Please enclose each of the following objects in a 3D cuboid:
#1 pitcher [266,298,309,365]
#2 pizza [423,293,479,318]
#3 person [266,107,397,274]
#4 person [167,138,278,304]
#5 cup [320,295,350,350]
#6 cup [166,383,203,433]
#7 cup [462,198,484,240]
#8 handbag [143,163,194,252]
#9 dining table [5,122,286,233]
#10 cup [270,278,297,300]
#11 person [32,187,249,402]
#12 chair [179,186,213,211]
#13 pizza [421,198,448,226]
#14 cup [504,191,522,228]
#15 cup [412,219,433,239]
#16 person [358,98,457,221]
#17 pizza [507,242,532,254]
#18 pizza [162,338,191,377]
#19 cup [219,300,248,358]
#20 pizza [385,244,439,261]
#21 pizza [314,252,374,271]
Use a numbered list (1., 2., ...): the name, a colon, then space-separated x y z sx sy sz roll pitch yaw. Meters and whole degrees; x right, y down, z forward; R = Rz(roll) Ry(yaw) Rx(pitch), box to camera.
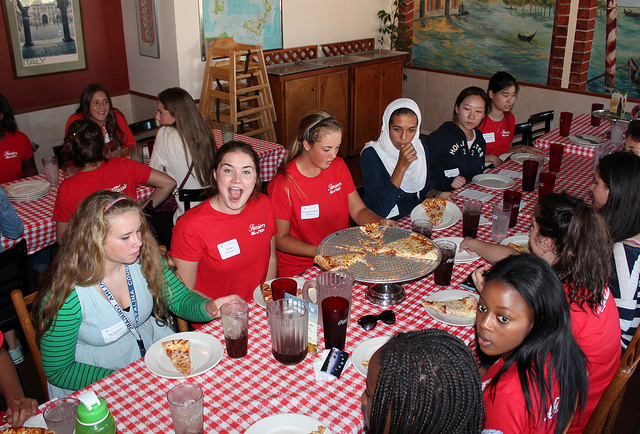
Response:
1. pitcher: -0.120 0.449 1.580 0.155 0.230 0.147 -6 22 -11
2. pizza: 0.602 0.409 1.805 0.199 0.029 0.134 2 22 3
3. person: 0.027 -0.111 2.546 0.628 1.063 0.822 -21 40 -30
4. person: -0.508 0.093 2.288 0.687 1.049 0.401 -19 40 -36
5. cup: 0.065 0.431 1.602 0.102 0.216 0.093 -2 21 1
6. cup: -0.433 0.623 1.285 0.102 0.161 0.101 0 15 0
7. cup: 0.916 0.022 2.402 0.147 0.259 0.164 8 24 21
8. handbag: -1.091 -0.101 2.879 0.340 0.388 0.609 -35 -10 -22
9. dining table: -1.252 -0.277 2.826 0.667 0.218 0.905 32 51 32
10. cup: -0.157 0.306 1.744 0.085 0.068 0.090 -2 9 0
11. person: -0.887 0.578 2.002 0.899 1.247 0.533 3 16 -21
12. chair: -0.844 -0.126 2.721 0.160 0.204 0.144 -4 50 -12
13. pizza: 0.723 -0.041 2.564 0.161 0.097 0.270 5 23 17
14. cup: 1.241 -0.045 2.582 0.134 0.222 0.133 -5 11 1
15. cup: 0.582 0.066 2.260 0.095 0.080 0.104 0 19 0
16. person: 0.628 -0.344 3.061 0.609 1.033 0.621 -14 28 -20
17. pizza: 1.090 0.168 2.184 0.097 0.017 0.101 18 29 29
18. pizza: -0.540 0.546 1.553 0.113 0.039 0.179 13 28 -46
19. cup: -0.356 0.484 1.601 0.121 0.191 0.116 -14 -12 -3
20. pizza: 0.456 0.163 1.947 0.241 0.032 0.138 9 24 25
21. pizza: 0.094 0.203 1.869 0.145 0.031 0.112 -11 25 -16
